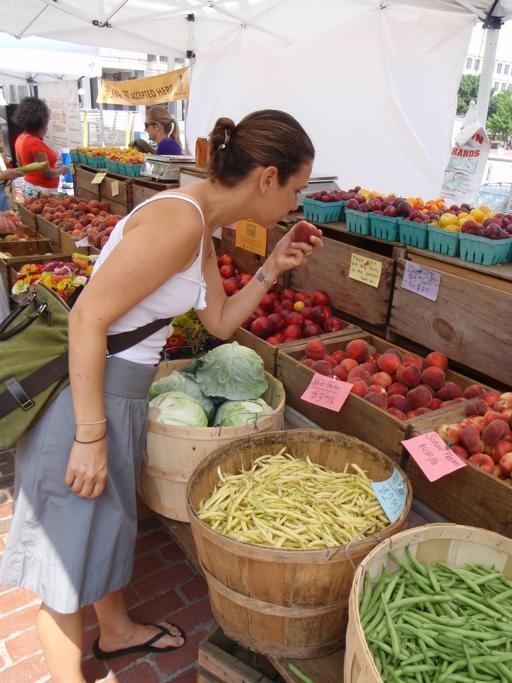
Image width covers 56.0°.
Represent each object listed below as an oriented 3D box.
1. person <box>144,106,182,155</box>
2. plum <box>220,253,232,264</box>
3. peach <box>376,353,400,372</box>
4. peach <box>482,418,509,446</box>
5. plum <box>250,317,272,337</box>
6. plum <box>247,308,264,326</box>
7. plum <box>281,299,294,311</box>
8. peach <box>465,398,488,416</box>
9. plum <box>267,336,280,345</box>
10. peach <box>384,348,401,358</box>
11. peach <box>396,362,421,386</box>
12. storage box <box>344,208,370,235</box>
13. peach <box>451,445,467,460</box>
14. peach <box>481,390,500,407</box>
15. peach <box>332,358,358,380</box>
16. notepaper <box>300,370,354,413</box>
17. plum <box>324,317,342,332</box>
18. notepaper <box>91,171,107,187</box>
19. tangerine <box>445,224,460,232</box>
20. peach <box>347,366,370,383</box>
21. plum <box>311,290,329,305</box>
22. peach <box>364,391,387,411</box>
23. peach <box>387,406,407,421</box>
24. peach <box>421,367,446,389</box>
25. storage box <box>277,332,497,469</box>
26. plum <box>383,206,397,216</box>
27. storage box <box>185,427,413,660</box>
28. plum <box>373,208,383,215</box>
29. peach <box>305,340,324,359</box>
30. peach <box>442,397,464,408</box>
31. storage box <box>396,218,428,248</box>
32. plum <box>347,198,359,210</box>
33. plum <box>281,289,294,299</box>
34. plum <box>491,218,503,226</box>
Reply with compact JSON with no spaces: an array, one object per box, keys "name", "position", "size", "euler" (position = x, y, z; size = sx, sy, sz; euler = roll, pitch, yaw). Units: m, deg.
[{"name":"person","position":[-1.325,-2.892,6.926],"size":[0.501,0.860,0.761],"euler":[-5,32,-5]},{"name":"plum","position":[-0.241,-0.635,3.730],"size":[0.092,0.079,0.084],"euler":[6,3,-44]},{"name":"peach","position":[0.623,0.095,2.290],"size":[0.092,0.085,0.094],"euler":[-7,7,-26]},{"name":"peach","position":[0.814,0.312,1.628],"size":[0.075,0.094,0.070],"euler":[7,55,-6]},{"name":"plum","position":[0.016,-0.078,2.918],"size":[0.118,0.136,0.109],"euler":[0,55,-3]},{"name":"plum","position":[0.000,-0.149,3.047],"size":[0.101,0.088,0.088],"euler":[6,-9,15]},{"name":"plum","position":[0.198,-0.234,3.093],"size":[0.075,0.078,0.071],"euler":[14,27,22]},{"name":"peach","position":[0.842,0.247,1.827],"size":[0.072,0.062,0.065],"euler":[0,-2,21]},{"name":"plum","position":[0.100,0.000,2.782],"size":[0.056,0.049,0.049],"euler":[-6,41,13]},{"name":"peach","position":[0.662,0.055,2.328],"size":[0.048,0.053,0.046],"euler":[-24,2,7]},{"name":"peach","position":[0.672,0.147,2.155],"size":[0.104,0.091,0.097],"euler":[0,8,0]},{"name":"storage box","position":[0.555,-0.676,2.711],"size":[0.134,0.103,0.168],"euler":[2,14,-5]},{"name":"peach","position":[0.686,0.378,1.626],"size":[0.041,0.043,0.039],"euler":[-4,-3,21]},{"name":"peach","position":[0.913,0.221,1.877],"size":[0.075,0.052,0.052],"euler":[-8,16,6]},{"name":"peach","position":[0.417,0.131,2.239],"size":[0.092,0.059,0.112],"euler":[-7,-3,-6]},{"name":"notepaper","position":[0.295,0.212,1.970],"size":[0.221,0.150,0.028],"euler":[22,-9,46]},{"name":"plum","position":[0.444,-0.092,2.756],"size":[0.087,0.075,0.083],"euler":[-3,1,2]},{"name":"notepaper","position":[-2.023,-2.100,6.199],"size":[0.064,0.208,0.234],"euler":[6,2,-41]},{"name":"tangerine","position":[0.904,-0.516,2.206],"size":[0.049,0.046,0.045],"euler":[-5,0,4]},{"name":"peach","position":[0.457,0.152,2.129],"size":[0.086,0.072,0.076],"euler":[1,6,2]},{"name":"plum","position":[0.386,-0.252,2.937],"size":[0.103,0.076,0.083],"euler":[15,44,-23]},{"name":"peach","position":[0.487,0.239,1.934],"size":[0.074,0.069,0.078],"euler":[5,2,34]},{"name":"peach","position":[0.560,0.285,1.902],"size":[0.074,0.035,0.055],"euler":[8,0,-25]},{"name":"peach","position":[0.782,0.161,2.115],"size":[0.108,0.074,0.075],"euler":[-6,3,7]},{"name":"storage box","position":[0.544,0.189,2.145],"size":[0.525,0.226,0.737],"euler":[-12,24,-35]},{"name":"plum","position":[0.690,-0.660,2.457],"size":[0.056,0.059,0.054],"euler":[2,-12,-5]},{"name":"storage box","position":[0.037,0.589,1.541],"size":[0.704,0.425,0.739],"euler":[-9,22,-24]},{"name":"plum","position":[0.649,-0.684,2.546],"size":[0.036,0.021,0.040],"euler":[-1,22,-2]},{"name":"peach","position":[0.293,0.045,2.404],"size":[0.100,0.088,0.088],"euler":[4,-3,-16]},{"name":"peach","position":[0.813,0.252,1.977],"size":[0.079,0.033,0.035],"euler":[-12,-2,20]},{"name":"storage box","position":[0.780,-0.538,2.401],"size":[0.163,0.097,0.124],"euler":[19,26,35]},{"name":"plum","position":[0.538,-0.762,2.701],"size":[0.058,0.055,0.068],"euler":[2,55,-3]},{"name":"plum","position":[0.210,-0.304,3.194],"size":[0.082,0.064,0.064],"euler":[-16,3,-42]},{"name":"plum","position":[1.078,-0.529,2.146],"size":[0.053,0.026,0.049],"euler":[2,21,1]}]
